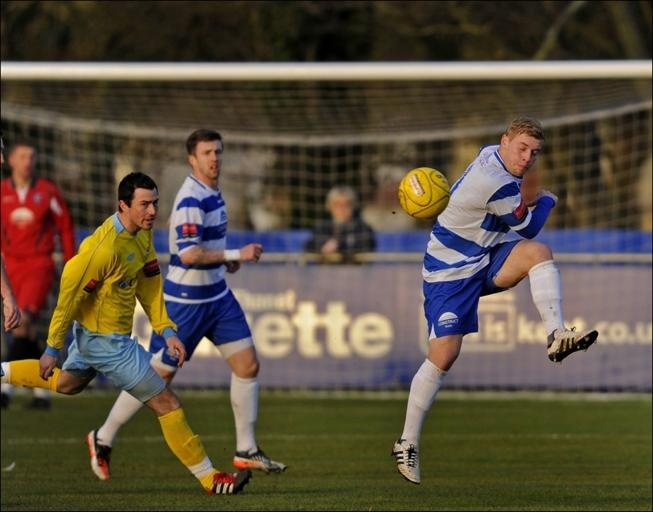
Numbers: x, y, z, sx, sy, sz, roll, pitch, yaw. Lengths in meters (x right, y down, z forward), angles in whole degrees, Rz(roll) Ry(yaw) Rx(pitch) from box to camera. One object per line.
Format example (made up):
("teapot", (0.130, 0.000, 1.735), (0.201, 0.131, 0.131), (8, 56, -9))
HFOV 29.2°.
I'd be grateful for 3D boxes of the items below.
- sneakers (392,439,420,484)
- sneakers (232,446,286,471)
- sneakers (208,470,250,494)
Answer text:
("sneakers", (0.735, 1.893, 11.523), (0.255, 0.380, 0.154), (0, 7, 0))
("sneakers", (-0.640, 1.904, 11.686), (0.545, 0.243, 0.199), (4, -7, -5))
("sneakers", (-0.858, 2.024, 11.263), (0.404, 0.188, 0.164), (-18, 25, 9))
